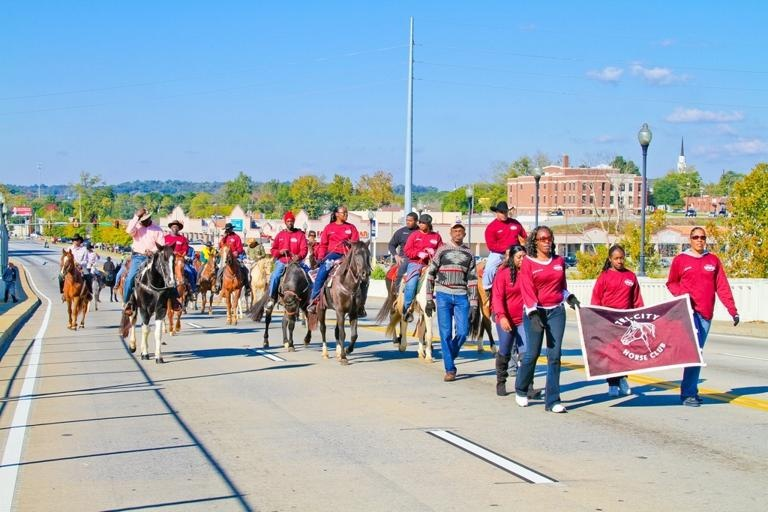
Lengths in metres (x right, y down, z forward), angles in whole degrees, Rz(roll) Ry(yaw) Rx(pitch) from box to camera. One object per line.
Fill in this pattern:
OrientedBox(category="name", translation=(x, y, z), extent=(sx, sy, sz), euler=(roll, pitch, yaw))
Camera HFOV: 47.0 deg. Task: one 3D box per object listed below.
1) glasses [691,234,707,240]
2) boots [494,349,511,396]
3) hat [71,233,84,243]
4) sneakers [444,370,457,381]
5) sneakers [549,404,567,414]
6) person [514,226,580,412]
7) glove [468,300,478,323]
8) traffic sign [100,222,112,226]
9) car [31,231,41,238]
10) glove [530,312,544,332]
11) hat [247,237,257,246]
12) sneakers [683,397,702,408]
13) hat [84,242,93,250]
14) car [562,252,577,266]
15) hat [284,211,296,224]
OrientedBox(category="glasses", translation=(5.538, -0.328, 15.671), extent=(0.266, 0.068, 0.213), euler=(0, 1, 34))
OrientedBox(category="boots", translation=(2.155, 2.133, 16.083), extent=(0.238, 0.614, 0.417), euler=(-1, 0, 7))
OrientedBox(category="hat", translation=(-9.523, -0.603, 27.506), extent=(0.433, 0.180, 0.476), euler=(0, -30, 3))
OrientedBox(category="sneakers", translation=(1.301, 2.365, 17.363), extent=(0.149, 0.151, 0.391), euler=(0, -10, 2))
OrientedBox(category="sneakers", translation=(2.899, 2.593, 14.840), extent=(0.139, 0.107, 0.263), euler=(2, -6, -29))
OrientedBox(category="person", translation=(2.711, 1.073, 14.864), extent=(0.894, 2.284, 1.023), euler=(-1, 0, -6))
OrientedBox(category="glove", translation=(1.962, 1.231, 19.452), extent=(0.182, 0.438, 0.333), euler=(4, 6, 1))
OrientedBox(category="traffic sign", translation=(-59.661, -6.871, 189.558), extent=(2.207, 0.523, 2.019), euler=(0, -1, -36))
OrientedBox(category="car", translation=(-118.010, -7.272, 299.488), extent=(2.771, 1.366, 3.769), euler=(3, 9, -11))
OrientedBox(category="glove", translation=(2.528, 1.090, 14.630), extent=(0.247, 0.319, 0.118), euler=(-21, 1, 11))
OrientedBox(category="hat", translation=(-4.670, -0.478, 31.173), extent=(0.363, 0.171, 0.359), euler=(0, 10, 20))
OrientedBox(category="sneakers", translation=(5.288, 2.518, 15.189), extent=(0.294, 0.103, 0.239), euler=(-1, 1, 19))
OrientedBox(category="hat", translation=(-10.068, -0.341, 30.055), extent=(0.239, 0.240, 0.197), euler=(-7, 5, 25))
OrientedBox(category="car", translation=(19.031, 0.276, 90.771), extent=(1.693, 1.147, 2.543), euler=(0, -3, -5))
OrientedBox(category="hat", translation=(-2.505, -0.987, 23.170), extent=(0.320, 0.316, 0.449), euler=(5, -28, -7))
